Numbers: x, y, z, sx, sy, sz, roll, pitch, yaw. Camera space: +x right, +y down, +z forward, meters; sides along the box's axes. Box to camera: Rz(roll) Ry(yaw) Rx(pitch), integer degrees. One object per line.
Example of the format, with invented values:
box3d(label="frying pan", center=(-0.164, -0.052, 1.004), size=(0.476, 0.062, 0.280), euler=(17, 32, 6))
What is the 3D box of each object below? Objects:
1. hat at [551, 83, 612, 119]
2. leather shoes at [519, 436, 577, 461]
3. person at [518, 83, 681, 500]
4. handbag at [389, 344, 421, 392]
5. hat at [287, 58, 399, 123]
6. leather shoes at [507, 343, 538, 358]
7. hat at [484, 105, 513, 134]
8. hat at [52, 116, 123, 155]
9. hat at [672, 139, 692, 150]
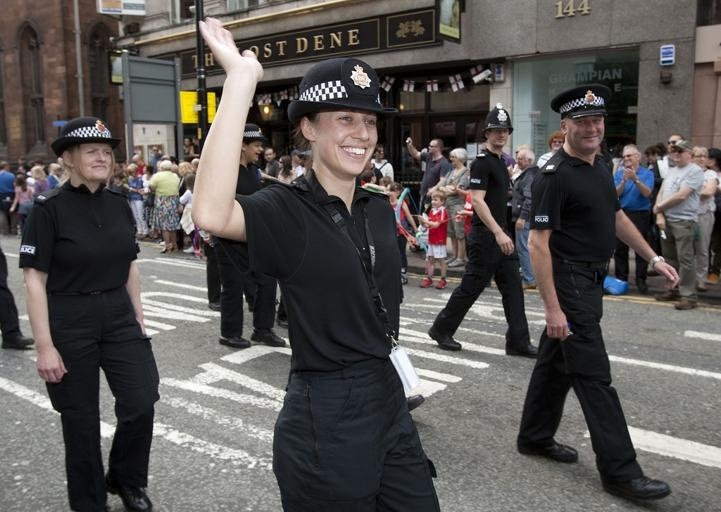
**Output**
box3d(label="hat", center=(1.658, -1.130, 5.395), size=(0.324, 0.132, 0.349), euler=(-5, 3, -8))
box3d(label="leather shoes", center=(1.496, 1.563, 5.671), size=(0.446, 0.188, 0.170), euler=(0, 14, 14))
box3d(label="person", center=(1.730, 0.220, 5.382), size=(0.999, 3.007, 0.829), euler=(4, 10, 24))
box3d(label="handbag", center=(0.231, 0.598, 3.799), size=(0.147, 0.252, 0.053), euler=(-33, -7, 0))
box3d(label="hat", center=(-0.141, -0.843, 3.716), size=(0.384, 0.155, 0.340), euler=(2, 6, 36))
box3d(label="leather shoes", center=(1.784, 1.043, 7.797), size=(0.345, 0.153, 0.133), euler=(-3, 2, 15))
box3d(label="hat", center=(1.541, -1.535, 7.868), size=(0.270, 0.269, 0.351), euler=(-3, 16, -14))
box3d(label="hat", center=(-2.002, -0.851, 5.036), size=(0.377, 0.132, 0.320), euler=(-9, 1, 35))
box3d(label="hat", center=(4.617, -1.600, 10.105), size=(0.218, 0.104, 0.138), euler=(19, -3, -31))
